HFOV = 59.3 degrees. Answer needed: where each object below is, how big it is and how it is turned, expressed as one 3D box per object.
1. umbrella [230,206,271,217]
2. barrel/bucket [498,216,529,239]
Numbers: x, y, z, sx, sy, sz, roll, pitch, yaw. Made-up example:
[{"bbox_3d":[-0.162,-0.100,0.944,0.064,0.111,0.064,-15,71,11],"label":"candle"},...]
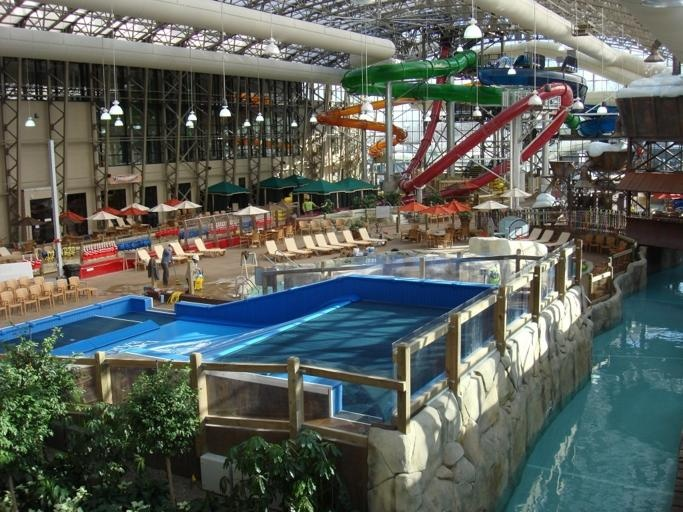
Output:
[{"bbox_3d":[-4.206,-2.074,27.965,1.361,0.527,2.183,-4,8,1],"label":"umbrella"},{"bbox_3d":[6.103,-0.874,21.185,0.979,0.798,1.084,0,18,8],"label":"barrel/bucket"}]
